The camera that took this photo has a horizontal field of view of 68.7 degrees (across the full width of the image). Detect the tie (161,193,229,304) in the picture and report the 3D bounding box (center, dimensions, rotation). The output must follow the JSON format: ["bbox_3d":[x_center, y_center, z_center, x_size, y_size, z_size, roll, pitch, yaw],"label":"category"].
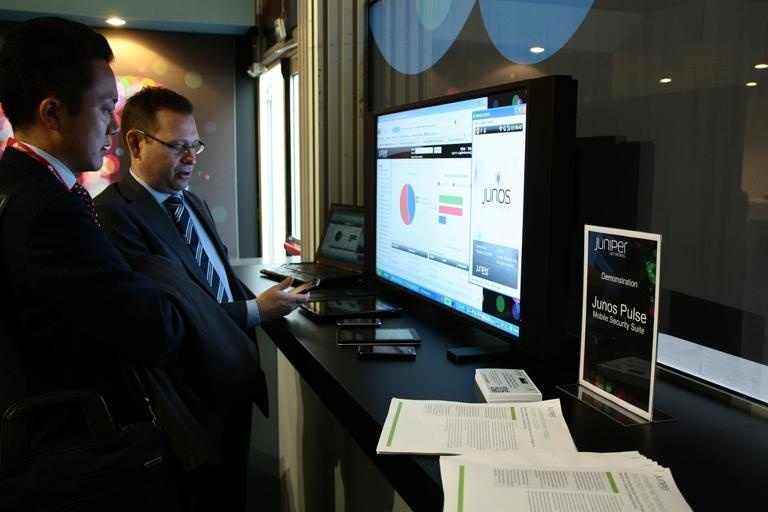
[{"bbox_3d":[-0.775,-0.030,2.382,0.213,0.510,0.277,5,11,-5],"label":"tie"}]

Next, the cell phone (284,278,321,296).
[{"bbox_3d":[-0.313,0.120,2.194,0.080,0.016,0.143,-27,13,-40],"label":"cell phone"}]

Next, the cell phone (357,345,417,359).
[{"bbox_3d":[0.007,0.278,1.636,0.156,0.017,0.089,-1,5,-6],"label":"cell phone"}]
